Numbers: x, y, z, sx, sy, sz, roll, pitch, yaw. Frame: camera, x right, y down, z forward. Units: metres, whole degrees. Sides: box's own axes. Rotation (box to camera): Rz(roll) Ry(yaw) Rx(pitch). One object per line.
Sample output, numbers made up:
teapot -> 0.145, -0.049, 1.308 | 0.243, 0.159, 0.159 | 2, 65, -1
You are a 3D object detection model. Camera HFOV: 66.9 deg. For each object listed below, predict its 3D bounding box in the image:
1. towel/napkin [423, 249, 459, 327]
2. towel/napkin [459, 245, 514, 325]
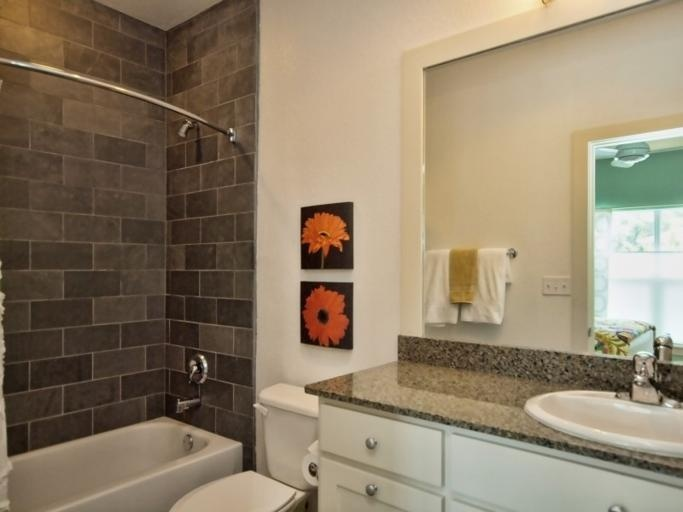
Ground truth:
towel/napkin -> 0.460, 0.144, 2.380 | 0.200, 0.299, 0.069 | -1, -1, 42
towel/napkin -> 0.597, 0.126, 2.252 | 0.259, 0.366, 0.043 | 3, 22, 24
